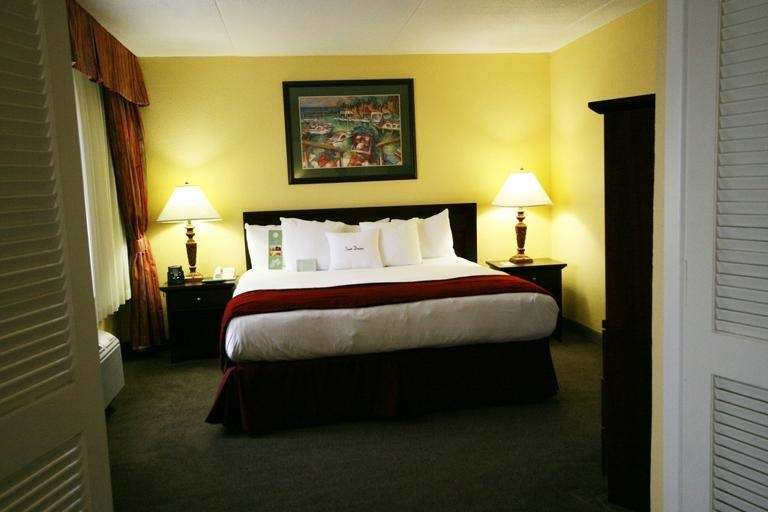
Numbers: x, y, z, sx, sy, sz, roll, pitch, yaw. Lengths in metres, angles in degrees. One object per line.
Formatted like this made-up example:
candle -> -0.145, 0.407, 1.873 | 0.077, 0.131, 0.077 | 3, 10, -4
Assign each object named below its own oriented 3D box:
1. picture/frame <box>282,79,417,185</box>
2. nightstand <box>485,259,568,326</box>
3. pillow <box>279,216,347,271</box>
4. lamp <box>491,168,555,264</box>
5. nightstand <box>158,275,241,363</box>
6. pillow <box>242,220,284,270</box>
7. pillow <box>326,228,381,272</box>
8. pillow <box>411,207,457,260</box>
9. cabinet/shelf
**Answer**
picture/frame -> -0.403, -1.305, 5.702 | 1.125, 0.830, 0.054 | -2, 7, -5
nightstand -> 1.457, 0.432, 5.671 | 0.735, 0.687, 0.608 | -2, 6, -13
pillow -> -0.673, -0.088, 5.238 | 0.495, 0.355, 0.169 | 0, -26, -3
lamp -> 1.417, -0.367, 5.749 | 0.649, 0.894, 0.631 | 1, -1, -10
nightstand -> -1.711, 0.661, 5.219 | 0.682, 0.774, 0.568 | -4, 0, -23
pillow -> -1.155, -0.110, 5.416 | 0.498, 0.549, 0.192 | -2, -2, 0
pillow -> -0.259, -0.033, 5.079 | 0.426, 0.363, 0.134 | -2, -13, 2
pillow -> 0.486, -0.214, 5.576 | 0.524, 0.533, 0.198 | -4, -2, -13
cabinet/shelf -> 1.214, 0.275, 2.824 | 0.333, 2.099, 0.279 | 2, 12, 19
